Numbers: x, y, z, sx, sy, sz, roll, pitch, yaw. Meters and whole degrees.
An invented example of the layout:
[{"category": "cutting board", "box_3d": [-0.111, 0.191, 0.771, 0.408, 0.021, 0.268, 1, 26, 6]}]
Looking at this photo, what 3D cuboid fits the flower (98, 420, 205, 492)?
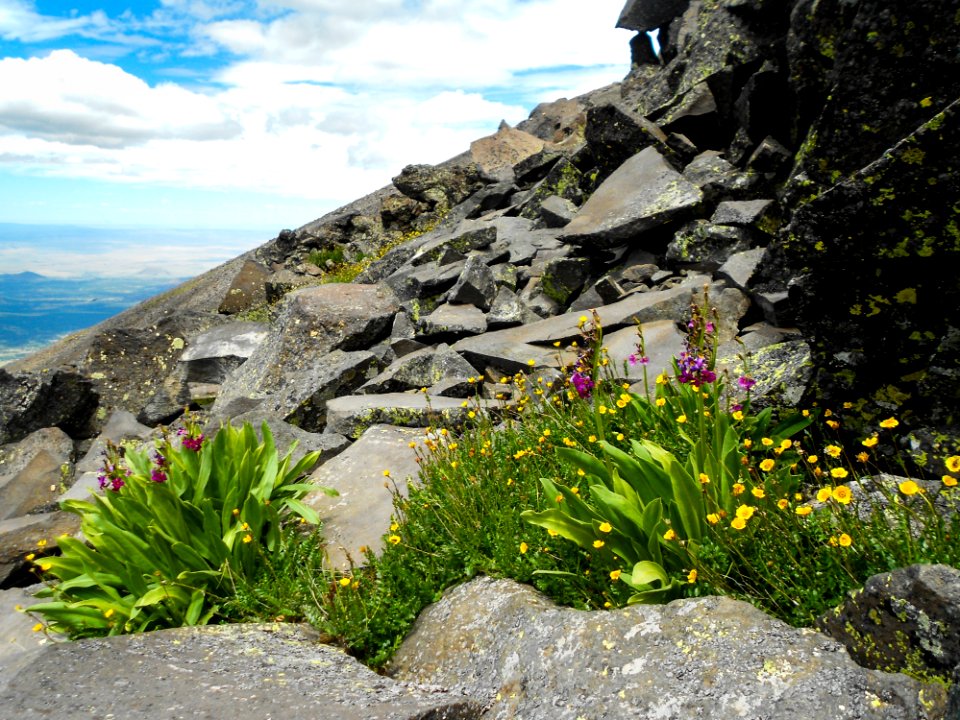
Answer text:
[{"category": "flower", "box_3d": [-3.652, 1.085, 7.623, 1.084, 0.604, 0.659, -25, 63, -29]}]
